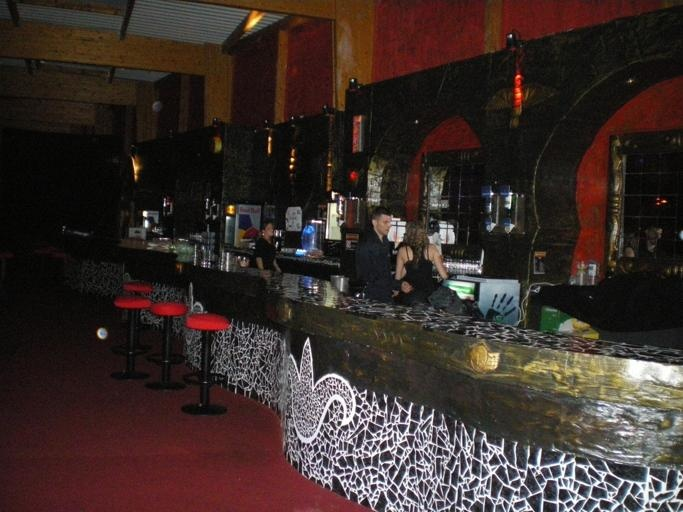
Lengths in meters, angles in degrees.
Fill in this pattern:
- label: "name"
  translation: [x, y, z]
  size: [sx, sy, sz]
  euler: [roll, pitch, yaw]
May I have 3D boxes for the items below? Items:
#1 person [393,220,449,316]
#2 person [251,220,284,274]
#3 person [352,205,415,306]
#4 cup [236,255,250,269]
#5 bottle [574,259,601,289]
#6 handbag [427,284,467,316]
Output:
- label: "person"
  translation: [0.846, 0.251, 5.919]
  size: [0.509, 1.368, 0.442]
  euler: [3, 25, 16]
- label: "person"
  translation: [-1.221, -0.132, 8.741]
  size: [0.450, 0.829, 1.374]
  euler: [1, 7, -7]
- label: "person"
  translation: [0.427, -0.028, 5.592]
  size: [0.569, 0.954, 0.252]
  euler: [0, 6, -14]
- label: "cup"
  translation: [-1.244, 0.063, 6.746]
  size: [0.127, 0.128, 0.131]
  euler: [8, 25, -4]
- label: "bottle"
  translation: [2.710, 0.160, 6.044]
  size: [0.265, 0.237, 0.384]
  euler: [5, 7, 27]
- label: "handbag"
  translation: [0.900, 0.366, 4.585]
  size: [0.330, 0.220, 0.243]
  euler: [2, 6, 0]
